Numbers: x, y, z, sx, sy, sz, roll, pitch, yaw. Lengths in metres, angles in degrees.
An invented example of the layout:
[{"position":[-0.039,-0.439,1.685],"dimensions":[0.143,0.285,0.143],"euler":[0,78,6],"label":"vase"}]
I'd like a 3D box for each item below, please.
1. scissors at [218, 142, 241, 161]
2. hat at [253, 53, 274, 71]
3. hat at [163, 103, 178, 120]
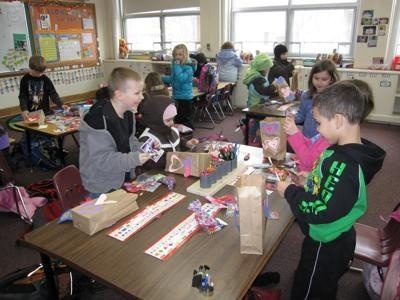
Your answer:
[{"position":[0.216,0.007,2.044],"dimensions":[0.122,0.126,0.120],"euler":[5,12,38],"label":"scissors"},{"position":[1.004,-1.397,4.373],"dimensions":[0.278,0.233,0.213],"euler":[-2,40,-1],"label":"hat"},{"position":[-0.241,-0.312,2.287],"dimensions":[0.099,0.138,0.113],"euler":[4,-23,4],"label":"hat"}]
